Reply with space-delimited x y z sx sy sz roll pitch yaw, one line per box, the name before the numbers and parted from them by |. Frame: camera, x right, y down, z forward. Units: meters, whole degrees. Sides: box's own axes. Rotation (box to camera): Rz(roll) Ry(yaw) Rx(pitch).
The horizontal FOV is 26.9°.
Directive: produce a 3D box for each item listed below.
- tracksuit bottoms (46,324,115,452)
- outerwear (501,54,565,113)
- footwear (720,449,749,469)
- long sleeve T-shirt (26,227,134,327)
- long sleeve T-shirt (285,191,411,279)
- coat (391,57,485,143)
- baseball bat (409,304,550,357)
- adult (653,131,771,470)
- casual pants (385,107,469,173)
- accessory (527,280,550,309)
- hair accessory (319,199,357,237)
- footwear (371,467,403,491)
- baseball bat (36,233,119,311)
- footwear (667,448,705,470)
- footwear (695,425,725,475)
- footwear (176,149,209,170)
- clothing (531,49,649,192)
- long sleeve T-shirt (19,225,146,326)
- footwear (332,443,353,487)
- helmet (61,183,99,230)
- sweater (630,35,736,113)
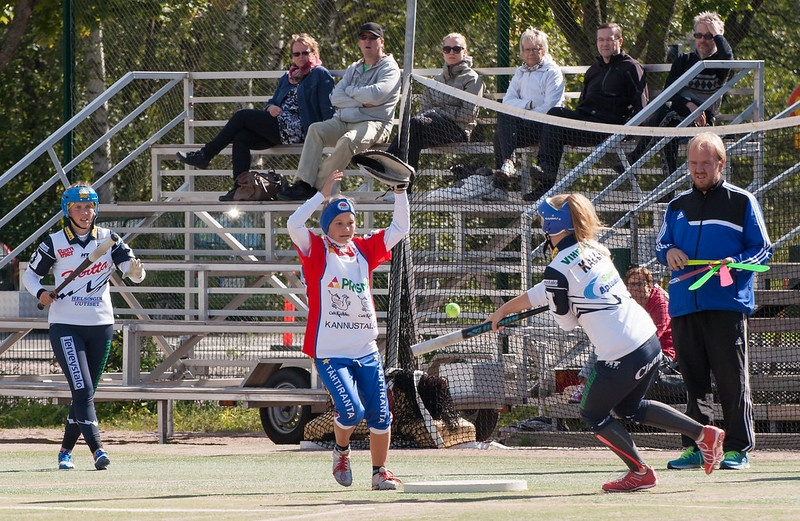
tracksuit bottoms | -3.704 1.471 19.291 0.687 1.483 0.560 -2 0 4
outerwear | 1.853 -2.345 22.186 0.589 0.754 0.923 -10 12 -41
footwear | 3.630 2.181 17.954 0.143 0.157 0.375 -6 -13 38
long sleeve T-shirt | -3.677 0.180 19.493 1.488 1.125 0.732 -2 11 -9
long sleeve T-shirt | -0.599 -0.357 18.049 1.691 0.916 0.630 3 -3 -42
coat | 0.751 -2.247 22.147 0.823 0.928 0.614 8 9 36
baseball bat | 0.975 0.851 19.782 1.856 0.182 0.195 -19 -27 20
adult | 3.329 0.433 18.087 1.390 3.575 1.191 -5 -10 40
casual pants | 0.429 -1.589 21.701 0.911 0.756 0.351 -2 0 -38
accessory | 1.441 0.370 17.288 0.275 0.238 0.214 -3 6 2
hair accessory | -0.690 -0.487 17.703 0.340 0.199 0.400 0 -13 -19
footwear | -0.135 2.289 17.470 0.315 0.243 0.284 -2 0 -2
baseball bat | -3.768 0.120 19.418 1.624 0.165 0.190 -36 7 29
footwear | 3.131 2.182 18.100 0.500 0.204 0.158 0 -1 1
footwear | 3.206 1.907 17.160 0.309 0.567 0.199 -10 24 -3
footwear | -2.814 -1.392 22.648 0.439 0.268 0.442 -2 0 -8
clothing | 2.337 -1.878 21.632 1.579 1.779 0.945 3 3 -31
long sleeve T-shirt | -3.678 0.141 19.448 1.461 1.107 0.764 -1 4 -9
footwear | -0.607 2.183 17.544 0.181 0.427 0.220 -2 0 -4
helmet | -3.673 -0.695 19.633 0.434 0.499 0.529 6 -32 -18
sweater | 3.924 -2.374 21.736 0.920 1.087 0.685 6 -10 29
